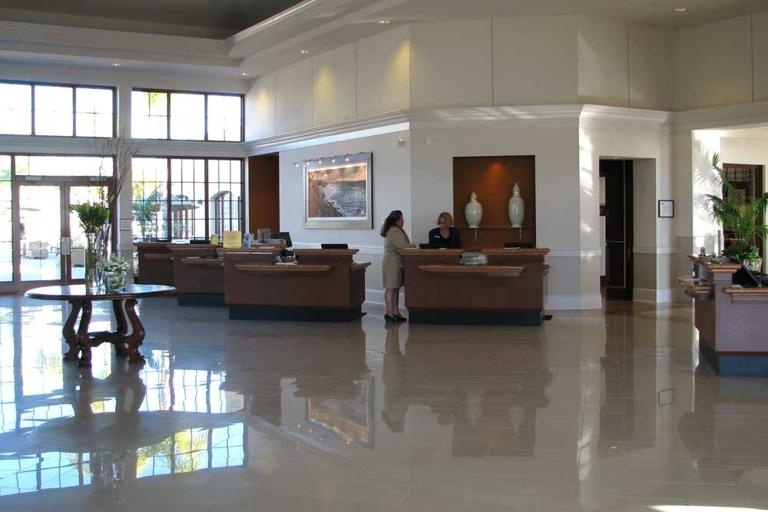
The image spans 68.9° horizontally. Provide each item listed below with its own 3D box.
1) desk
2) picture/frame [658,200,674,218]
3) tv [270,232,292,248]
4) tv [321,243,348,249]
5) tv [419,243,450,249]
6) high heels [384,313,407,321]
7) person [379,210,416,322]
[{"bbox_3d":[-3.800,0.885,7.399,1.548,0.965,1.429,6,9,44],"label":"desk"},{"bbox_3d":[5.726,-0.978,11.409,0.378,0.381,0.050,0,-1,-23],"label":"picture/frame"},{"bbox_3d":[-2.017,-0.362,10.923,0.309,0.300,0.428,-8,7,-9],"label":"tv"},{"bbox_3d":[-0.892,-0.198,9.778,0.414,0.060,0.733,-2,7,-11],"label":"tv"},{"bbox_3d":[0.816,-0.180,9.416,0.472,0.079,0.307,-1,6,-6],"label":"tv"},{"bbox_3d":[0.187,1.060,9.826,0.379,0.132,0.136,-1,1,-9],"label":"high heels"},{"bbox_3d":[0.226,0.169,9.650,0.439,1.901,0.689,-3,6,-27],"label":"person"}]
